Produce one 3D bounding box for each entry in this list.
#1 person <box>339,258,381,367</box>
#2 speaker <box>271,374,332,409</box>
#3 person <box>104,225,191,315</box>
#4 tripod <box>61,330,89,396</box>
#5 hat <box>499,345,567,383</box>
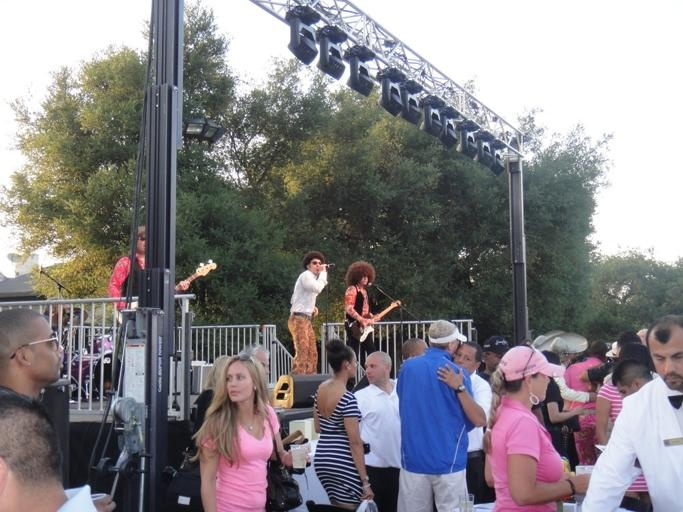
[{"bbox_3d":[0.278,0.846,13.897,0.394,1.595,0.495,2,1,-29],"label":"person"},{"bbox_3d":[-0.566,1.959,12.891,0.739,0.503,0.613,9,-11,-44],"label":"speaker"},{"bbox_3d":[-2.570,0.186,11.156,0.767,1.405,0.634,1,-4,-41],"label":"person"},{"bbox_3d":[-3.455,1.371,11.469,0.404,1.076,0.363,1,-1,39],"label":"tripod"},{"bbox_3d":[1.733,1.041,8.404,0.429,0.274,0.304,-13,2,-4],"label":"hat"}]
